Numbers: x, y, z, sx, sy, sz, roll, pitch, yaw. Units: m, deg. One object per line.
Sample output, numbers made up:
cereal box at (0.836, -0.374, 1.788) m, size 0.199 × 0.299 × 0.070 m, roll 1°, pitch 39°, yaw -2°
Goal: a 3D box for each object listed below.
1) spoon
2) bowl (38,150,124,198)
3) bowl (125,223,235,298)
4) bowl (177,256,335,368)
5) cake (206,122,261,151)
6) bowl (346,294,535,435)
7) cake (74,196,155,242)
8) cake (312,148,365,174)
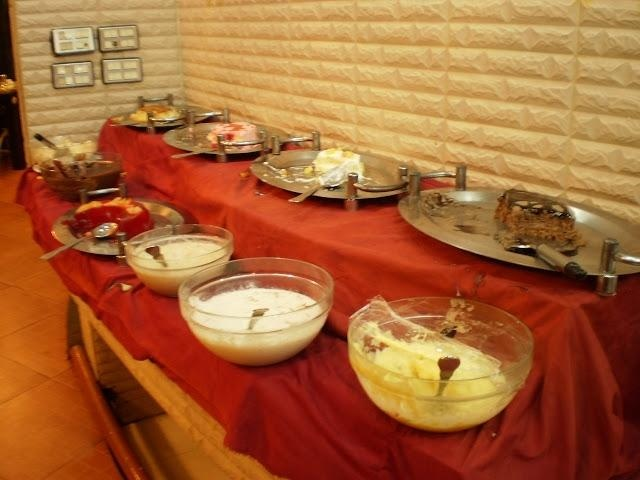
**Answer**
spoon at (-0.735, 0.003, 1.539) m, size 0.272 × 0.029 × 0.055 m, roll -23°, pitch 45°, yaw -18°
bowl at (-0.880, -0.227, 1.868) m, size 0.267 × 0.152 × 0.232 m, roll -11°, pitch 24°, yaw -25°
bowl at (-0.329, 0.053, 1.310) m, size 0.316 × 0.086 × 0.240 m, roll -4°, pitch 20°, yaw -14°
bowl at (-0.134, 0.143, 1.050) m, size 0.353 × 0.099 × 0.280 m, roll 6°, pitch 18°, yaw 16°
cake at (-0.337, -0.405, 1.965) m, size 0.240 × 0.049 × 0.130 m, roll 1°, pitch 23°, yaw 7°
bowl at (0.182, 0.220, 0.926) m, size 0.354 × 0.101 × 0.277 m, roll 6°, pitch 18°, yaw 17°
cake at (-0.639, -0.077, 1.568) m, size 0.191 × 0.042 × 0.183 m, roll 24°, pitch 37°, yaw 32°
cake at (0.062, -0.257, 1.589) m, size 0.118 × 0.030 × 0.129 m, roll 11°, pitch 22°, yaw 23°
